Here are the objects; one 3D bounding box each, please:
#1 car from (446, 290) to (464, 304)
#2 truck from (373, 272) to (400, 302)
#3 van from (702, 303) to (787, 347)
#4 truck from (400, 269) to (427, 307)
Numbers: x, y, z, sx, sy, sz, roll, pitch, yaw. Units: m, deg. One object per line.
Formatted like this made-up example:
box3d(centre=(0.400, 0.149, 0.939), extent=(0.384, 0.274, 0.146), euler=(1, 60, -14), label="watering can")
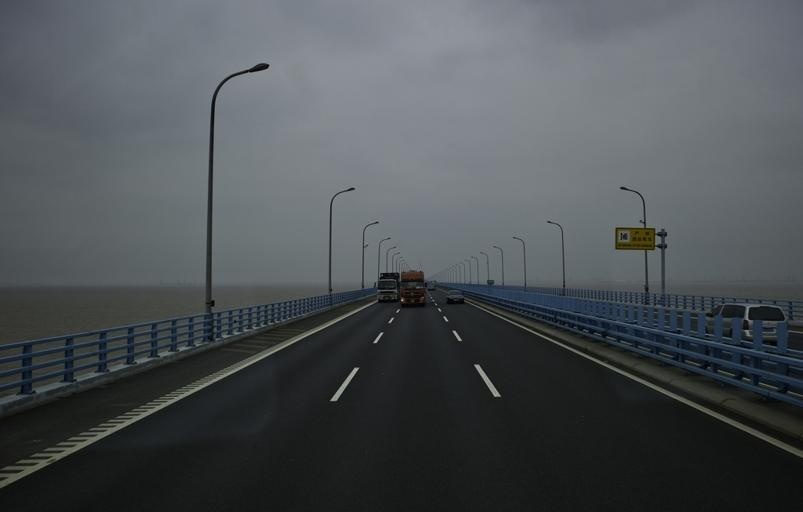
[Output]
box3d(centre=(4.299, 3.333, 50.866), extent=(0.856, 0.778, 1.614), euler=(-1, -11, 1), label="car")
box3d(centre=(-1.120, 2.834, 55.871), extent=(1.877, 2.941, 5.447), euler=(-1, -7, 3), label="truck")
box3d(centre=(11.172, 2.237, 20.593), extent=(1.582, 1.420, 3.398), euler=(0, 2, -4), label="van")
box3d(centre=(0.847, 2.632, 46.468), extent=(1.278, 2.296, 4.263), euler=(-1, -7, 3), label="truck")
